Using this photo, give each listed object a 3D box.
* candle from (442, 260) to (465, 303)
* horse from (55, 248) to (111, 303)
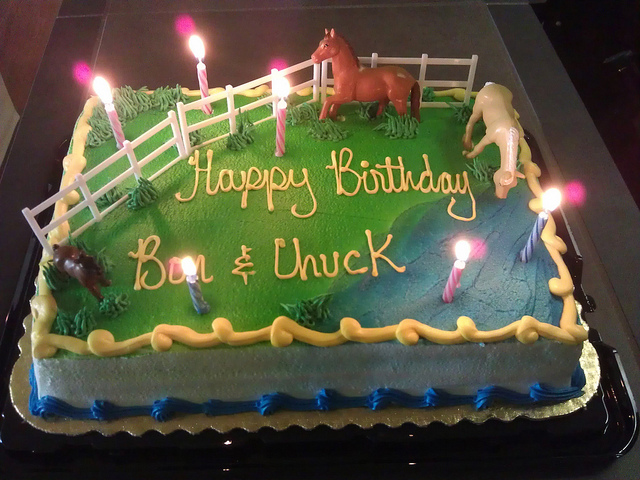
[{"bbox_3d":[1.668,0.493,7.852,0.179,0.762,0.311,16,60,15],"label":"candle"},{"bbox_3d":[-3.032,0.487,7.958,0.663,0.359,0.204,32,77,21],"label":"horse"}]
